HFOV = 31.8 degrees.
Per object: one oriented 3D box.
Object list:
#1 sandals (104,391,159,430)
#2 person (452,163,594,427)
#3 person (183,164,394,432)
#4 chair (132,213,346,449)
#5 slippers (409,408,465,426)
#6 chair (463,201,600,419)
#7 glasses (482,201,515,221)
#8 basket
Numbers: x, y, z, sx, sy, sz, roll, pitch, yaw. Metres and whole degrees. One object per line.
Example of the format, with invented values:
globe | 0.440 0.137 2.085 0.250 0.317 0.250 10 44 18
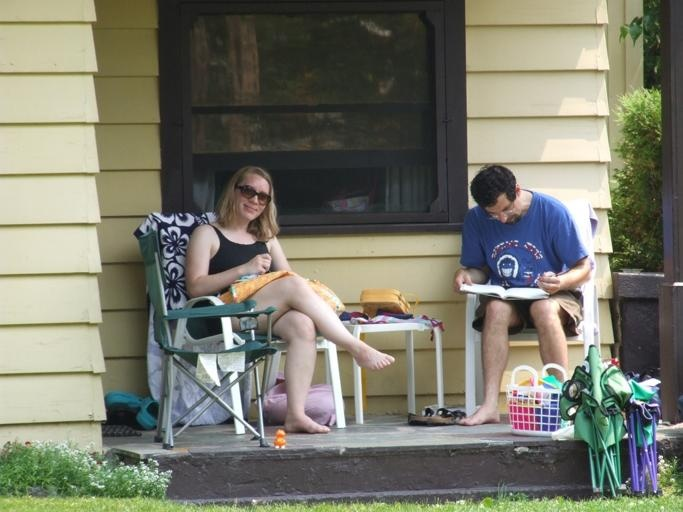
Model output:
sandals | -1.132 0.826 6.520 0.210 0.077 0.215 4 12 -6
person | 0.918 0.193 6.382 0.835 1.319 1.007 -2 2 -26
person | -0.353 0.196 6.169 0.635 1.395 0.902 -1 -2 -35
chair | -0.763 0.388 7.119 1.123 1.482 1.090 -3 -5 36
slippers | 0.512 0.843 6.357 0.262 0.077 0.340 -4 -2 33
chair | 0.955 0.275 6.384 0.727 1.110 0.829 -4 3 -9
glasses | 0.827 -0.247 6.315 0.106 0.140 0.077 -9 -44 41
basket | 0.941 0.720 5.966 0.349 0.372 0.269 2 -5 4
